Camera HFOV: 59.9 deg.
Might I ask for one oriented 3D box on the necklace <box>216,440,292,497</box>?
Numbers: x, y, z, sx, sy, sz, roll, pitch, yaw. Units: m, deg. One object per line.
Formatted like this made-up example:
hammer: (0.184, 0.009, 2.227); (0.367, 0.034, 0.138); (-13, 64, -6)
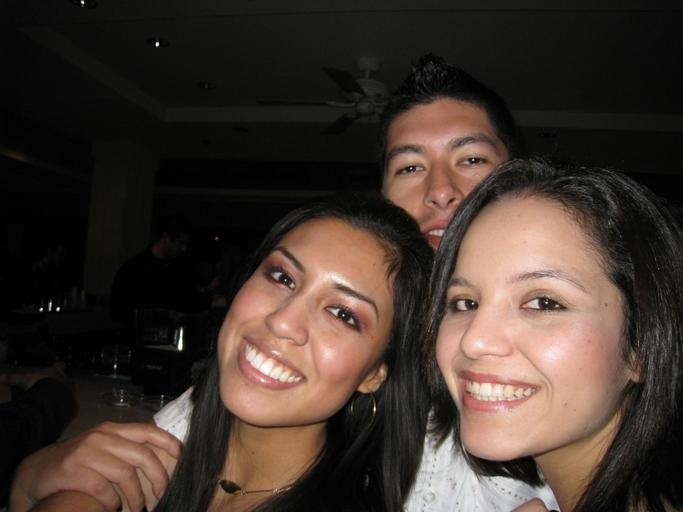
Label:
necklace: (-0.326, 1.149, 3.094); (0.624, 0.137, 0.123); (-4, -53, -4)

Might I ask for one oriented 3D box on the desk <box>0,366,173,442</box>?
desk: (-1.693, 1.041, 4.154); (1.373, 0.355, 0.393); (-5, -41, -15)
